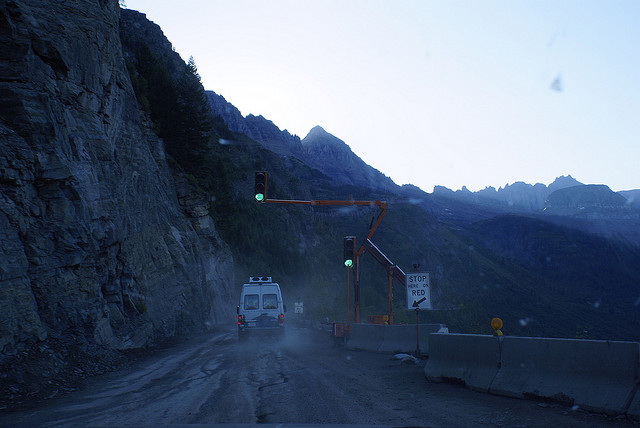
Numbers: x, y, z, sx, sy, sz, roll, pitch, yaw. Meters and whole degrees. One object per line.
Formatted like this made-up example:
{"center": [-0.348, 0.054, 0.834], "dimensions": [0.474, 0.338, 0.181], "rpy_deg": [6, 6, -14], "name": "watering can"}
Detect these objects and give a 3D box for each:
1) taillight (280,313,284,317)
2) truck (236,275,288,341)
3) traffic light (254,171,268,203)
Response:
{"center": [-2.154, 5.856, 26.913], "dimensions": [0.127, 0.152, 0.253], "rpy_deg": [-2, 29, -4], "name": "taillight"}
{"center": [-3.296, 5.452, 26.685], "dimensions": [1.981, 2.525, 3.831], "rpy_deg": [0, -9, -3], "name": "truck"}
{"center": [-2.724, -1.254, 21.801], "dimensions": [0.549, 1.423, 0.985], "rpy_deg": [5, 11, -9], "name": "traffic light"}
